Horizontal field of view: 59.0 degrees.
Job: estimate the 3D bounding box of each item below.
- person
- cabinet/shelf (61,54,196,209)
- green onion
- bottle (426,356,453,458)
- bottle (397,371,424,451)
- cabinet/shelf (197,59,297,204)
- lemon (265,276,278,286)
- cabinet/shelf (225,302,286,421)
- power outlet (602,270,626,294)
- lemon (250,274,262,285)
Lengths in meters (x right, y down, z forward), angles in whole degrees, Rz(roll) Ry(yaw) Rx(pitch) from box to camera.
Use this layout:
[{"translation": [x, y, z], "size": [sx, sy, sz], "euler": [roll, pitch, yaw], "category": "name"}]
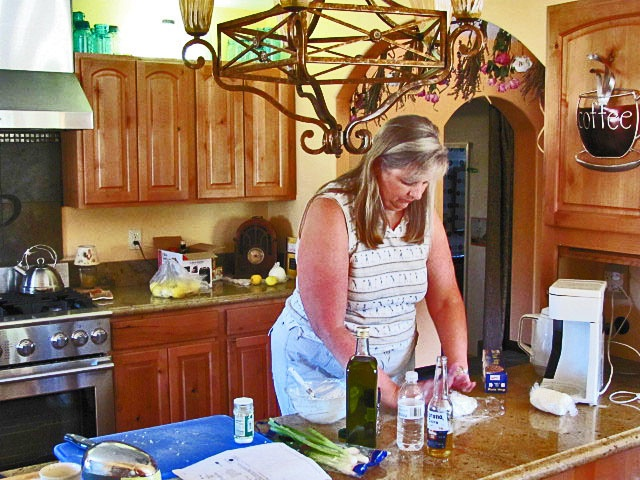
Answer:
[{"translation": [0.189, 0.191, 2.117], "size": [0.604, 1.257, 0.582], "euler": [-2, 14, -19], "category": "person"}, {"translation": [-1.209, -0.670, 3.680], "size": [0.885, 0.927, 0.376], "euler": [-5, 15, -37], "category": "cabinet/shelf"}, {"translation": [-0.020, 0.571, 1.675], "size": [0.372, 0.055, 0.090], "euler": [11, 29, 42], "category": "green onion"}, {"translation": [0.341, 0.483, 1.660], "size": [0.077, 0.262, 0.090], "euler": [5, 12, 11], "category": "bottle"}, {"translation": [0.277, 0.498, 1.692], "size": [0.088, 0.243, 0.108], "euler": [6, 13, 11], "category": "bottle"}, {"translation": [-0.554, -0.742, 3.994], "size": [0.752, 0.846, 0.416], "euler": [-5, 14, -32], "category": "cabinet/shelf"}, {"translation": [-0.337, 0.279, 3.882], "size": [0.067, 0.035, 0.067], "euler": [-6, 13, -41], "category": "lemon"}, {"translation": [-0.493, 0.769, 3.826], "size": [0.373, 0.734, 0.398], "euler": [-4, 12, -31], "category": "cabinet/shelf"}, {"translation": [1.331, 0.188, 2.552], "size": [0.115, 0.124, 0.014], "euler": [0, 9, 37], "category": "power outlet"}, {"translation": [-0.440, 0.274, 3.929], "size": [0.055, 0.056, 0.073], "euler": [21, 19, 30], "category": "lemon"}]
